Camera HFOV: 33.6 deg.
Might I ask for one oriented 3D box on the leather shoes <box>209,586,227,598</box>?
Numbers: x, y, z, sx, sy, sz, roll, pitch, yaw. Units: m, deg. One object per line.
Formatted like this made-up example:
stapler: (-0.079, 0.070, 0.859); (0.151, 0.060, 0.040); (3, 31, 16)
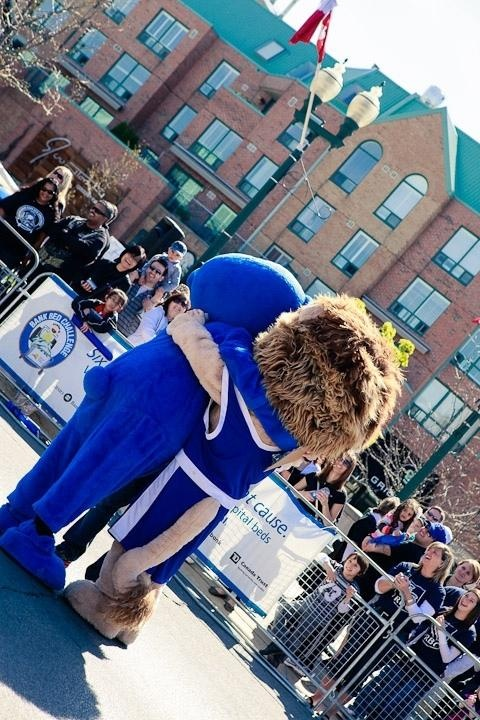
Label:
leather shoes: (-0.153, 1.675, 5.755); (0.116, 0.026, 0.077); (27, 14, -38)

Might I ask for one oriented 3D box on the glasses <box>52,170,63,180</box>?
glasses: (-1.709, -1.730, 7.427); (0.082, 0.094, 0.046); (24, 24, -3)

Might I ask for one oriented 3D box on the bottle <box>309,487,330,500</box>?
bottle: (0.645, 1.065, 6.402); (0.048, 0.133, 0.066); (153, -80, -74)

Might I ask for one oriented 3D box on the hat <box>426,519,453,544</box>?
hat: (1.585, 1.364, 6.313); (0.255, 0.124, 0.133); (24, 36, -37)

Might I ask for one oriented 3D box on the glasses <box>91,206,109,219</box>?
glasses: (-1.328, -1.437, 7.676); (0.122, 0.058, 0.143); (3, -47, 39)
